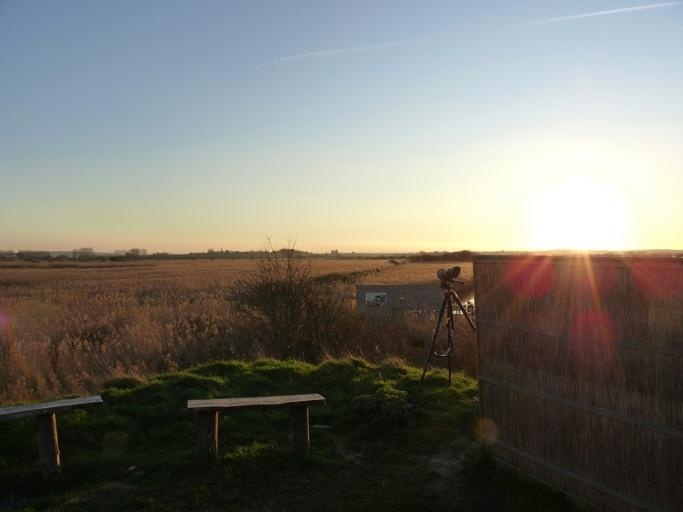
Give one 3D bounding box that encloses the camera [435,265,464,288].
[{"bbox_3d":[1.999,0.369,10.113,0.425,0.339,0.579,-2,-2,4],"label":"camera"}]
